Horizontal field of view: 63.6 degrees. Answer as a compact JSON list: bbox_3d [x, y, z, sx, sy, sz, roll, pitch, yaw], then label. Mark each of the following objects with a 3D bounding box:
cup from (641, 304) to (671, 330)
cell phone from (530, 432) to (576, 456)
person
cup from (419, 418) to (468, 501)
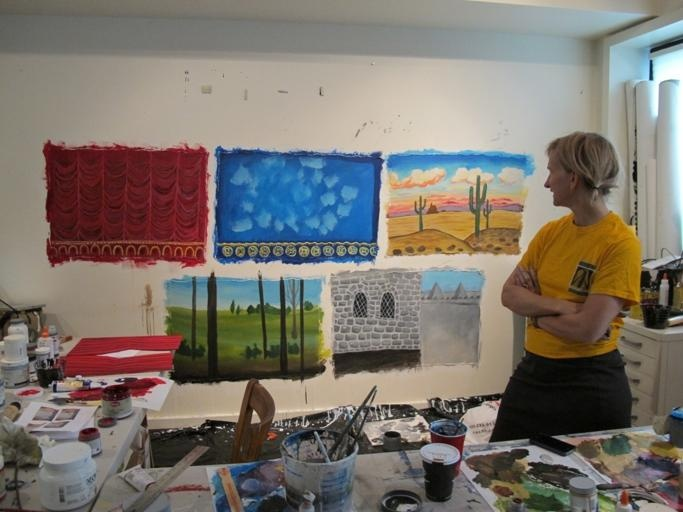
[{"bbox_3d":[1.975,0.383,3.476,0.154,0.125,0.145,0,0,0],"label":"cup"},{"bbox_3d":[0.861,0.753,2.248,0.071,0.023,0.119,0,6,-35],"label":"cell phone"},{"bbox_3d":[1.078,0.173,2.677,0.649,1.515,0.315,0,4,27],"label":"person"},{"bbox_3d":[0.391,0.765,2.110,0.156,0.237,0.272,-1,3,14],"label":"cup"}]
